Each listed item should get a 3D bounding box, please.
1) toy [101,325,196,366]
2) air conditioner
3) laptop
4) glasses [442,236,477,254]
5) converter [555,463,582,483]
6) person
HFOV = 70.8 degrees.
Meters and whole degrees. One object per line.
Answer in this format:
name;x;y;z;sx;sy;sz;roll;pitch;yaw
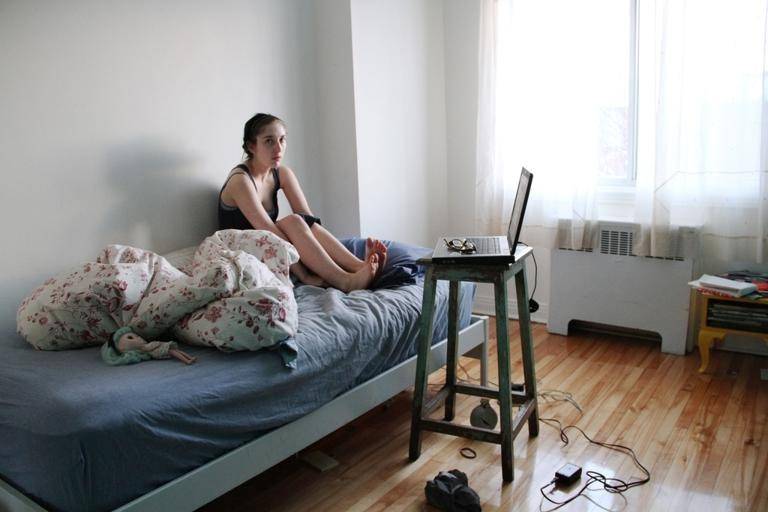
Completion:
toy;-0.990;0.389;2.207;0.268;0.094;0.179;9;17;14
air conditioner;1.691;0.227;3.733;0.838;0.804;0.289;5;6;28
laptop;0.476;-0.205;2.590;0.447;0.387;0.450;0;15;15
glasses;0.382;-0.049;2.594;0.111;0.039;0.081;2;21;-12
converter;0.856;0.986;2.493;0.060;0.050;0.108;11;19;39
person;-0.513;-0.329;3.354;1.025;1.043;0.490;6;14;21
